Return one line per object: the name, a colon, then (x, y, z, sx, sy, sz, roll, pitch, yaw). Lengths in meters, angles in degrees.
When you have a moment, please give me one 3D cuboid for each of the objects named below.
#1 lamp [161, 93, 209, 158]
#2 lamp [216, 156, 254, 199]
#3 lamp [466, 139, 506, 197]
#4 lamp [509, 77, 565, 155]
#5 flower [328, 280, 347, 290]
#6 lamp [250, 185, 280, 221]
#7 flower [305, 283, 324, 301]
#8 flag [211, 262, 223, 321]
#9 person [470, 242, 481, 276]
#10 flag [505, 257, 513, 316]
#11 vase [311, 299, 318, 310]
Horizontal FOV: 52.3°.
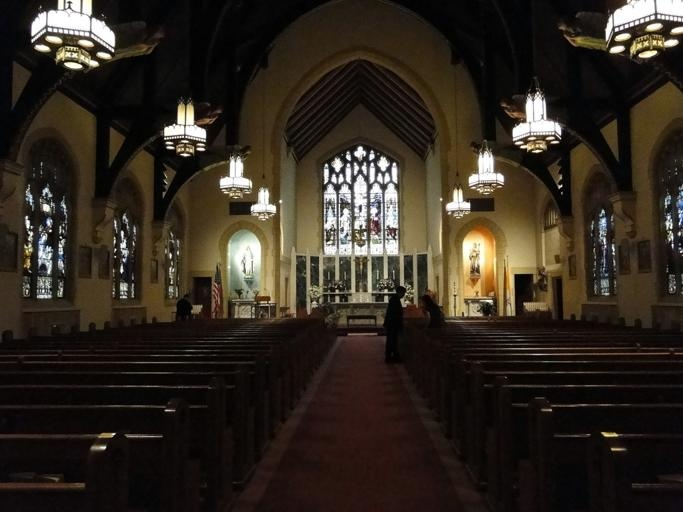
lamp: (-2.909, -2.433, 12.807, 0.730, 1.023, 0.555, 0, -5, -18)
lamp: (-2.382, -1.830, 15.627, 0.624, 0.877, 0.723, -2, -5, 8)
lamp: (3.232, -2.079, 15.452, 0.688, 1.256, 1.042, -3, -5, 17)
lamp: (3.488, -2.603, 12.514, 0.817, 1.376, 0.763, -3, -5, 15)
flower: (-0.134, 1.081, 25.770, 0.633, 0.367, 0.408, 0, -5, -20)
lamp: (-2.123, -1.411, 19.015, 0.819, 1.357, 0.904, 0, 1, -3)
flower: (-1.048, 1.352, 26.356, 0.495, 0.679, 0.519, 0, -3, 8)
flag: (-3.753, 1.003, 20.909, 0.325, 1.675, 1.718, 0, -5, -10)
person: (4.490, 0.117, 23.325, 0.351, 1.128, 0.616, -2, -5, 12)
flag: (5.232, 0.911, 21.873, 0.232, 1.806, 0.404, -3, -5, 15)
vase: (-0.992, 1.796, 25.939, 0.300, 0.547, 0.331, 1, -7, 2)
